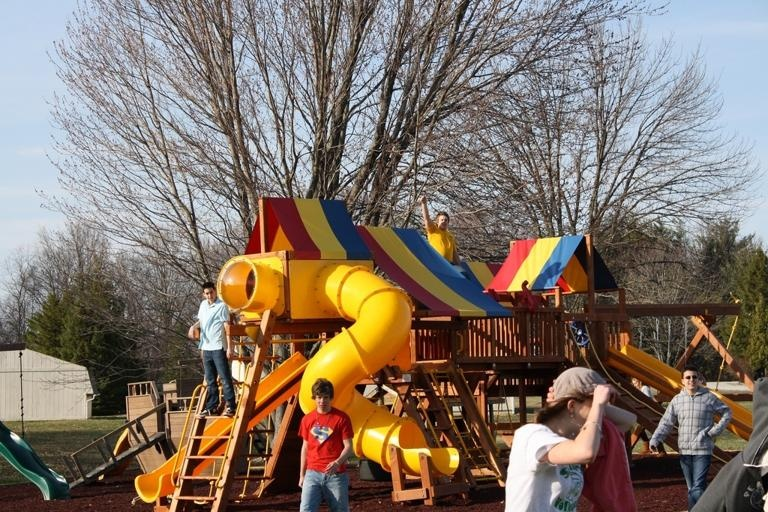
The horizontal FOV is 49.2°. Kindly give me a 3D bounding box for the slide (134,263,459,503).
[{"bbox_3d":[-1.282,2.154,16.848,5.390,4.509,1.559,-2,-3,6],"label":"slide"}]

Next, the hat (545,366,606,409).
[{"bbox_3d":[2.295,1.496,10.230,0.617,0.341,0.452,-10,3,42],"label":"hat"}]

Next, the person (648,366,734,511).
[{"bbox_3d":[5.664,3.314,15.269,1.305,2.563,1.206,-3,-4,23],"label":"person"}]
